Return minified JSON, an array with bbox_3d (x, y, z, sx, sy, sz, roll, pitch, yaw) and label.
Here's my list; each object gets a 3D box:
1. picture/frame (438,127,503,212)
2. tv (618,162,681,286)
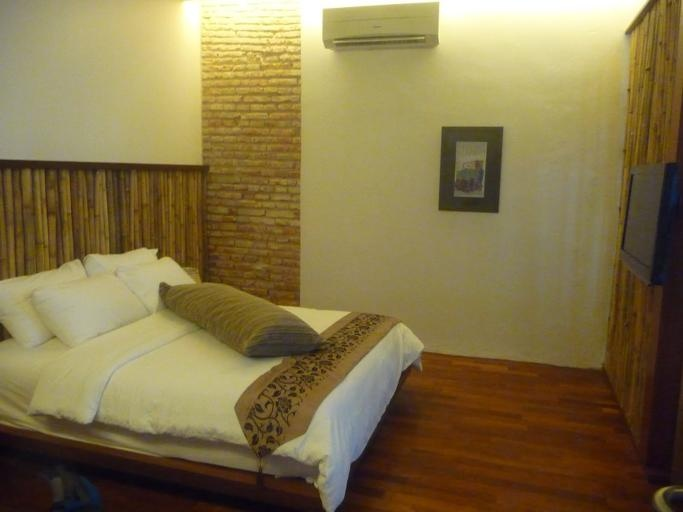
[{"bbox_3d":[1.192,-0.806,4.864,0.715,1.028,0.037,2,5,17],"label":"picture/frame"},{"bbox_3d":[1.890,-0.186,3.265,0.083,0.807,0.829,3,9,20],"label":"tv"}]
